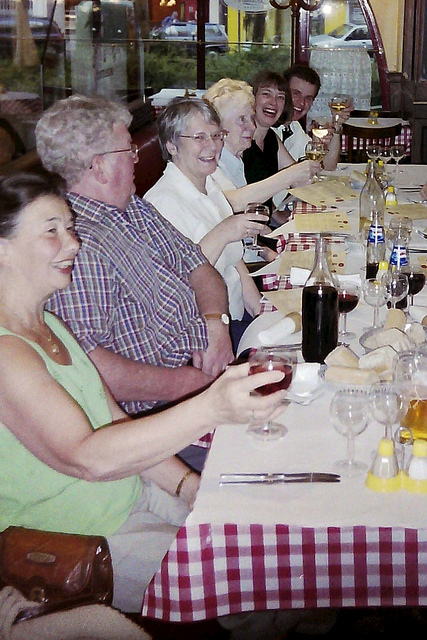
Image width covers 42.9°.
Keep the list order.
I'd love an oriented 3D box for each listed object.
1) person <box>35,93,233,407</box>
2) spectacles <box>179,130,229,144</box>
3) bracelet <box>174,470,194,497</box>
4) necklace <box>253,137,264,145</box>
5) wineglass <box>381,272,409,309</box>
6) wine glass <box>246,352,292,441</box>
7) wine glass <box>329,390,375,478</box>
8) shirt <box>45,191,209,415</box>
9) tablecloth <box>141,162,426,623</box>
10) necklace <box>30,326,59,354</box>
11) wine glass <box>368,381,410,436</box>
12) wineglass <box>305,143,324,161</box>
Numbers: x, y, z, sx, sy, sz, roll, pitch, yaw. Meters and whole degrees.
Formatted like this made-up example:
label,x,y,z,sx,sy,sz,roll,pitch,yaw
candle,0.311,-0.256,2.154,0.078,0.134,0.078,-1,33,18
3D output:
label,x,y,z,sx,sy,sz,roll,pitch,yaw
person,-0.215,-0.230,1.708,0.565,0.930,0.708,0,40,-5
spectacles,-0.037,-0.733,2.178,0.190,0.060,0.061,-6,11,-26
bracelet,-0.069,0.348,1.156,0.013,0.042,0.044,15,9,-11
necklace,0.280,-1.132,3.429,0.084,0.017,0.075,2,-12,-15
wineglass,0.464,-0.090,1.407,0.066,0.098,0.075,2,3,36
wine glass,0.092,0.156,0.892,0.060,0.101,0.061,20,27,33
wine glass,0.211,0.166,0.823,0.064,0.100,0.119,1,10,16
shirt,-0.228,-0.034,1.428,0.310,0.470,0.586,-8,23,23
tablecloth,0.144,0.073,1.103,0.398,0.116,0.964,4,39,4
necklace,-0.298,0.036,0.950,0.022,0.006,0.070,-15,36,-30
wine glass,0.273,0.130,0.845,0.058,0.072,0.030,2,11,22
wineglass,0.536,-0.899,2.926,0.114,0.110,0.108,0,16,1
